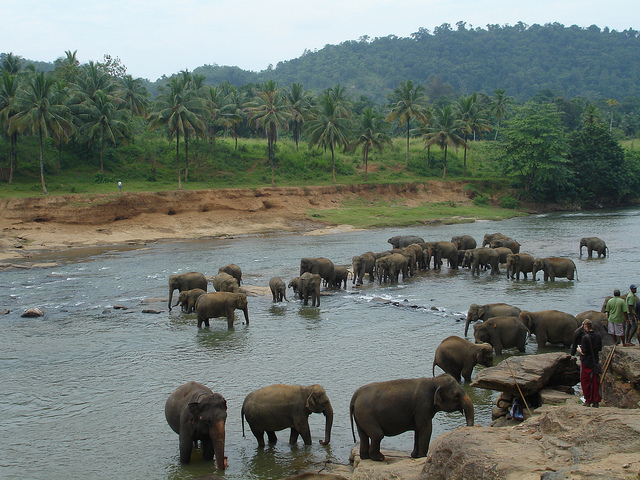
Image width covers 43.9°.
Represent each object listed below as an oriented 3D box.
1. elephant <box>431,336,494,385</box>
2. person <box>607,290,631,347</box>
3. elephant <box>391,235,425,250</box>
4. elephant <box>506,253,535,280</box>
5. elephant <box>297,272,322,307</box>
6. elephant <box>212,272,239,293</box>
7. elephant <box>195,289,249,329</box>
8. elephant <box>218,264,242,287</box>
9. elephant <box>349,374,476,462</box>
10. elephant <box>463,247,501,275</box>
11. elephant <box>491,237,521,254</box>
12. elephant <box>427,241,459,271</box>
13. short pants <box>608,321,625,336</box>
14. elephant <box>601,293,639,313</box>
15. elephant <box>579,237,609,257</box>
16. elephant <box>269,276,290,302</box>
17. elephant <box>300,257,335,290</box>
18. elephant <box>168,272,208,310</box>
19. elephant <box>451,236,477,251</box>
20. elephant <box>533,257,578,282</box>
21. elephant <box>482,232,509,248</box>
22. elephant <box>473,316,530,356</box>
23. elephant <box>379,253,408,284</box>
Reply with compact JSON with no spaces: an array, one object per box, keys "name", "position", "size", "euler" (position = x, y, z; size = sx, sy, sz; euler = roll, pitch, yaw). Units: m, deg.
[{"name":"elephant","position":[4.692,4.044,25.907],"size":[2.114,1.535,1.027],"euler":[0,2,-5]},{"name":"person","position":[9.718,2.575,25.893],"size":[0.694,1.747,0.670],"euler":[4,11,20]},{"name":"elephant","position":[4.703,0.133,42.651],"size":[1.691,0.916,0.706],"euler":[1,5,3]},{"name":"elephant","position":[9.328,1.249,36.900],"size":[1.231,1.145,0.766],"euler":[2,10,9]},{"name":"elephant","position":[-0.462,2.037,33.155],"size":[0.939,1.259,1.665],"euler":[-1,9,-3]},{"name":"elephant","position":[-3.933,1.815,32.831],"size":[0.537,0.827,1.480],"euler":[-1,9,-20]},{"name":"elephant","position":[-3.801,2.619,30.599],"size":[2.103,1.425,1.066],"euler":[-2,4,-10]},{"name":"elephant","position":[-3.980,1.427,35.301],"size":[0.597,0.757,1.336],"euler":[-4,-7,30]},{"name":"elephant","position":[2.691,5.068,22.707],"size":[3.764,2.304,1.569],"euler":[-3,4,-7]},{"name":"elephant","position":[7.553,0.867,38.566],"size":[2.149,1.472,0.801],"euler":[1,-3,20]},{"name":"elephant","position":[9.596,0.258,40.927],"size":[1.560,0.905,0.723],"euler":[2,1,9]},{"name":"elephant","position":[6.245,0.827,40.245],"size":[1.597,1.383,1.060],"euler":[1,10,6]},{"name":"short pants","position":[9.647,2.858,26.036],"size":[0.376,0.652,0.561],"euler":[-5,3,-13]},{"name":"elephant","position":[10.076,2.137,26.556],"size":[1.339,0.715,0.604],"euler":[-10,4,-17]},{"name":"elephant","position":[14.421,0.396,41.928],"size":[0.743,0.938,1.406],"euler":[-7,12,-35]},{"name":"elephant","position":[-1.750,2.139,33.405],"size":[0.632,1.000,0.744],"euler":[-2,10,-9]},{"name":"elephant","position":[-0.170,1.576,35.517],"size":[1.941,1.517,0.817],"euler":[1,-5,-39]},{"name":"elephant","position":[-5.620,2.151,33.685],"size":[1.881,1.556,0.784],"euler":[-7,8,-34]},{"name":"elephant","position":[7.532,0.127,41.545],"size":[1.518,0.803,0.628],"euler":[3,-6,-39]},{"name":"elephant","position":[10.654,1.393,36.194],"size":[1.812,1.106,0.917],"euler":[3,10,15]},{"name":"elephant","position":[9.286,0.132,42.845],"size":[1.501,0.857,0.712],"euler":[-12,16,-21]},{"name":"elephant","position":[6.188,3.465,27.650],"size":[2.493,1.465,0.959],"euler":[-5,6,-14]},{"name":"elephant","position":[3.338,1.301,36.984],"size":[0.662,1.326,2.382],"euler":[1,3,39]}]
